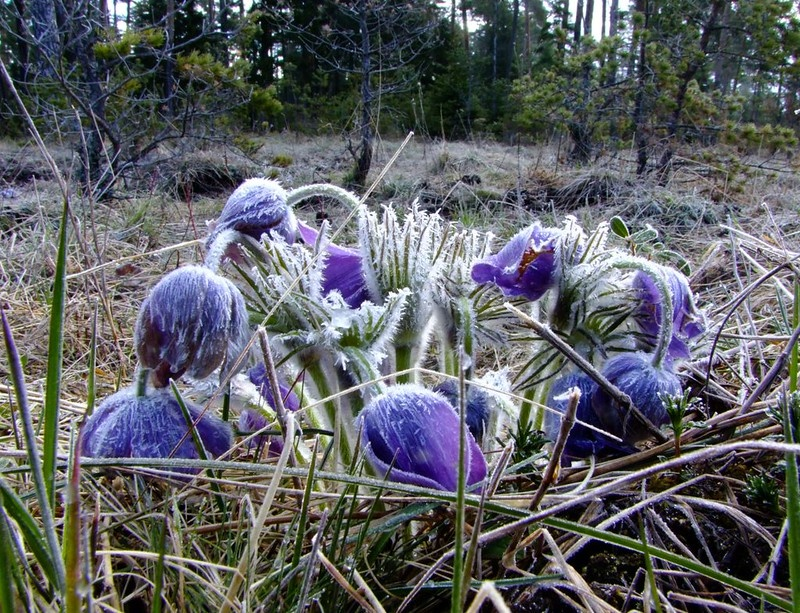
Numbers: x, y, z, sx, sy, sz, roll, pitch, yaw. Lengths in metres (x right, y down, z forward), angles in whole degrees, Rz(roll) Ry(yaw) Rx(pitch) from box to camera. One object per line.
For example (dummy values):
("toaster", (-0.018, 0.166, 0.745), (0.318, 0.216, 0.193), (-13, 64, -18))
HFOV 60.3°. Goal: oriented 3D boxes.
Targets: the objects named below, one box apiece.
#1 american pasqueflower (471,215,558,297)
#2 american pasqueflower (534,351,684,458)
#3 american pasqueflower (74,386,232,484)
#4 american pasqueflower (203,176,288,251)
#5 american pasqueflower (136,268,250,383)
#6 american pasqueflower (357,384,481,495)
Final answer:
("american pasqueflower", (0.258, -0.117, 1.503), (0.207, 0.127, 0.252), (9, 8, -4))
("american pasqueflower", (0.443, 0.217, 1.427), (0.264, 0.243, 0.200), (5, 21, 5))
("american pasqueflower", (-0.453, 0.243, 1.284), (0.227, 0.162, 0.203), (12, 23, 21))
("american pasqueflower", (-0.316, -0.199, 1.551), (0.176, 0.154, 0.147), (-18, 5, -4))
("american pasqueflower", (-0.398, 0.043, 1.333), (0.182, 0.251, 0.244), (7, 1, -2))
("american pasqueflower", (0.013, 0.233, 1.209), (0.178, 0.146, 0.127), (4, 21, 4))
